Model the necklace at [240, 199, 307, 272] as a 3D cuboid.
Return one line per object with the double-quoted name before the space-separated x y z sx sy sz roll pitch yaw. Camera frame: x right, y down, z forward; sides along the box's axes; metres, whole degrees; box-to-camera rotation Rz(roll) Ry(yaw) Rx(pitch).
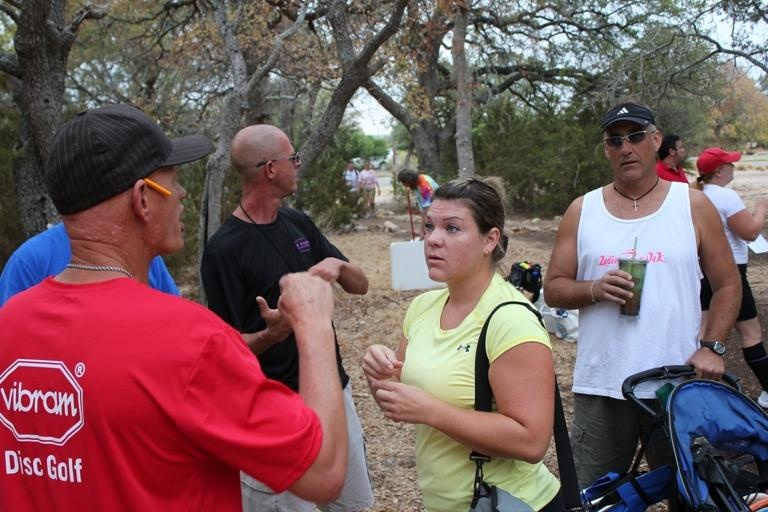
"necklace" -0.856 -0.139 6.049 0.057 0.730 0.173 -21 21 33
